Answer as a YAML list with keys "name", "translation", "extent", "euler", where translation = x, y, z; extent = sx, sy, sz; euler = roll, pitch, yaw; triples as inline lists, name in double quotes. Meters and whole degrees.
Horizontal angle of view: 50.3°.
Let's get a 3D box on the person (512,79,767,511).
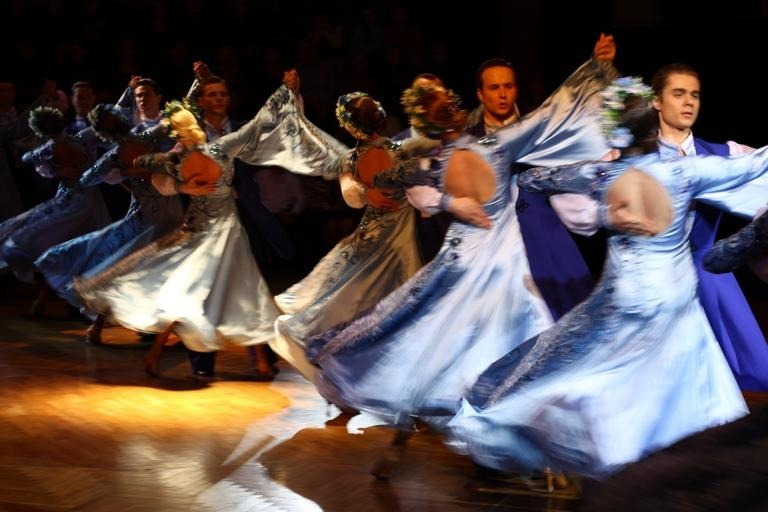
- name: "person"
  translation: [1.222, 0.155, 3.545]
  extent: [1.139, 1.829, 0.570]
  euler: [-5, 17, -10]
